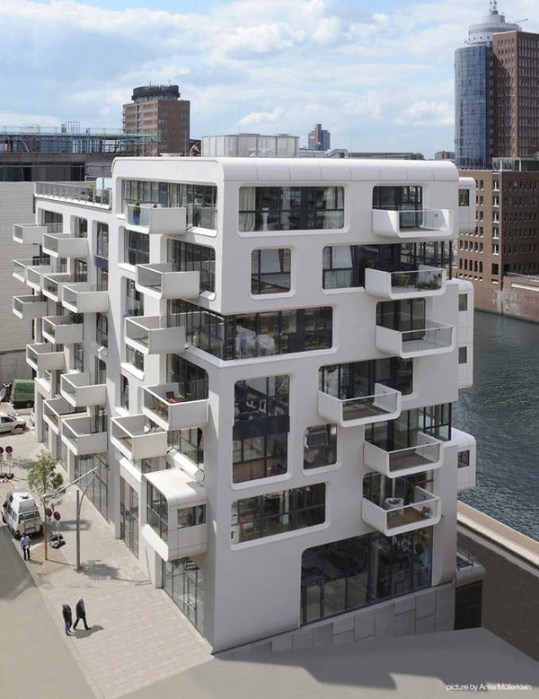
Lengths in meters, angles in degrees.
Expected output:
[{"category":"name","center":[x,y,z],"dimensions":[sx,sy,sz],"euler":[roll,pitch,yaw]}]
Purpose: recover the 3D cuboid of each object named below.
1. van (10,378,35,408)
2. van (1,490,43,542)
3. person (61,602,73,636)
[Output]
[{"category":"van","center":[-16.640,2.878,68.398],"dimensions":[1.992,1.822,1.348],"euler":[-5,14,-33]},{"category":"van","center":[-11.387,7.475,47.115],"dimensions":[1.058,1.699,2.676],"euler":[-2,15,-25]},{"category":"person","center":[-7.513,9.876,38.005],"dimensions":[0.336,1.315,1.820],"euler":[1,9,-13]}]
